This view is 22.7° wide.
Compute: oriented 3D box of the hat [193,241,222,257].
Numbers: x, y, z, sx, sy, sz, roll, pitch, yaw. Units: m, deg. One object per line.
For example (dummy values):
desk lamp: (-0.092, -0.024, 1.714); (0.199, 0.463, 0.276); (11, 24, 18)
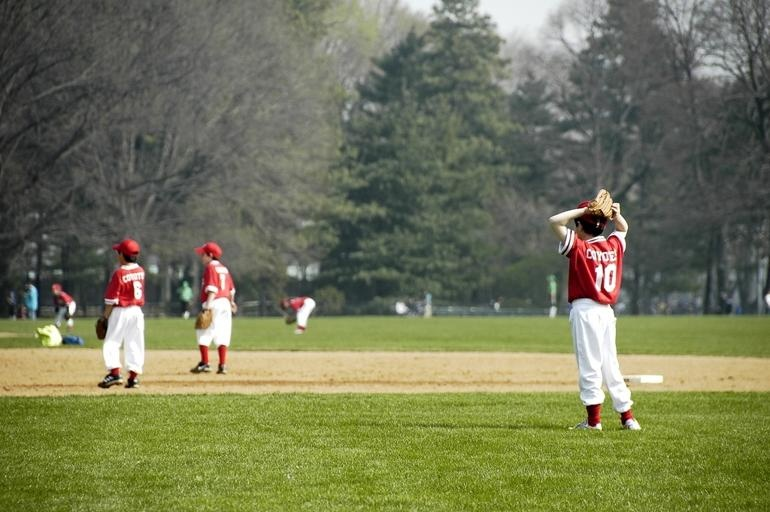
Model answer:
hat: (-5.214, -0.129, 55.465); (0.658, 0.416, 0.483); (-2, -4, 2)

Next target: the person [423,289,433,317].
person: (1.486, 1.770, 69.741); (0.352, 0.902, 0.393); (-2, -4, 14)

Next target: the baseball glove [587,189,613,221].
baseball glove: (5.857, -1.398, 52.042); (0.596, 0.414, 0.786); (1, 23, -1)

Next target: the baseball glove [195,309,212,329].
baseball glove: (-5.349, 1.850, 55.289); (0.464, 0.568, 0.357); (-1, -4, -7)
